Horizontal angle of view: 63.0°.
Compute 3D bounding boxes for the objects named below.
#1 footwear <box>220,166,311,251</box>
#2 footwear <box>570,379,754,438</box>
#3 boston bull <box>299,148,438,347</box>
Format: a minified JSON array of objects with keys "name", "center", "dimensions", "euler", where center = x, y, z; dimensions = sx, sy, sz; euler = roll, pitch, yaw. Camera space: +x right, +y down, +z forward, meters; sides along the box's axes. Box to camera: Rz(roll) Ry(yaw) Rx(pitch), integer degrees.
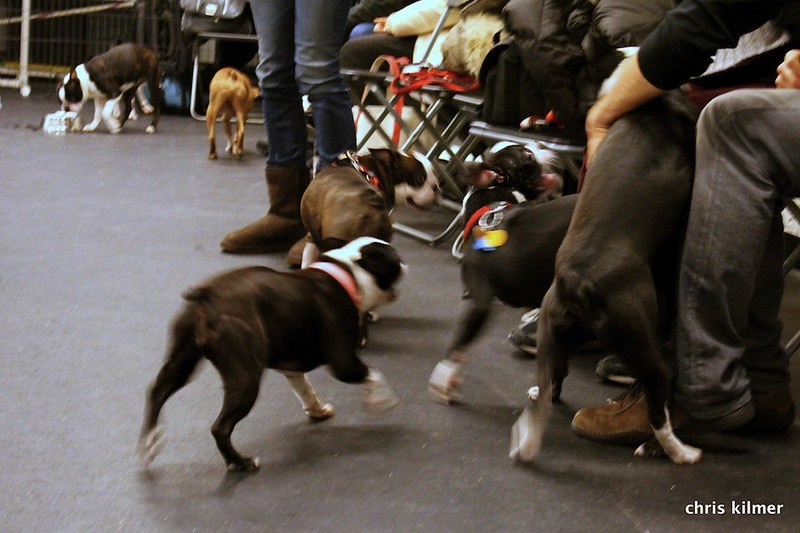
[{"name":"footwear","center":[-0.829,-0.373,3.928],"dimensions":[0.652,0.546,0.274],"euler":[-9,36,-27]},{"name":"footwear","center":[0.895,0.512,2.375],"dimensions":[0.637,0.251,0.228],"euler":[-4,3,13]},{"name":"boston bull","center":[-0.239,-0.209,3.416],"dimensions":[0.521,0.671,1.283],"euler":[22,30,8]}]
